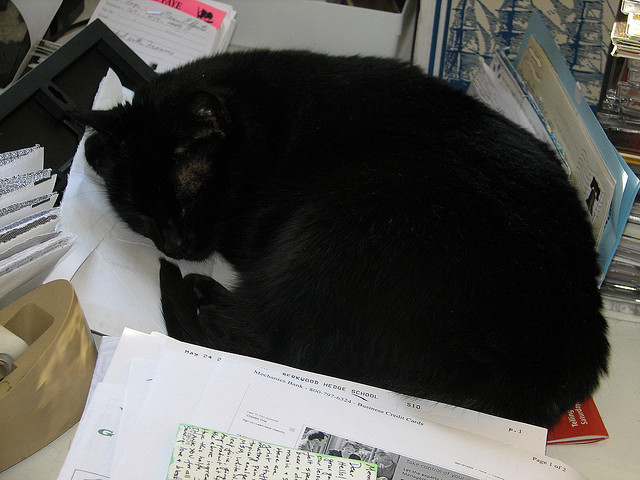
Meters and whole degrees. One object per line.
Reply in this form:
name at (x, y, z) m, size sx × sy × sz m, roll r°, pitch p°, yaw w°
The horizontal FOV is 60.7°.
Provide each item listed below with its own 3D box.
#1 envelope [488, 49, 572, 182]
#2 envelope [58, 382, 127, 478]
envelope at (0.408, -0.291, 1.107) m, size 0.042 × 0.045 × 0.283 m, roll -27°, pitch 52°, yaw 20°
envelope at (-0.326, 0.283, 0.800) m, size 0.067 × 0.037 × 0.138 m, roll 10°, pitch 57°, yaw 7°
